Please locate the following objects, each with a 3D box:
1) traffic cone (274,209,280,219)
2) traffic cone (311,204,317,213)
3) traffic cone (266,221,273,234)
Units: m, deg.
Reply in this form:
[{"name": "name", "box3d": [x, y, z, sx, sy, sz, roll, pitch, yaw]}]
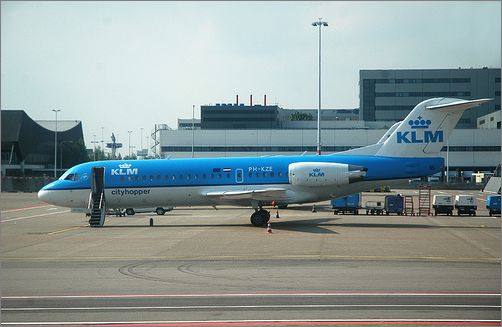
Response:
[{"name": "traffic cone", "box3d": [2.434, 4.562, 72.425, 0.617, 0.664, 0.550, -6, 11, -16]}, {"name": "traffic cone", "box3d": [6.055, 4.436, 77.676, 0.572, 0.533, 0.505, -11, 38, 5]}, {"name": "traffic cone", "box3d": [1.509, 5.156, 65.823, 0.567, 0.879, 0.986, 2, -1, -2]}]
